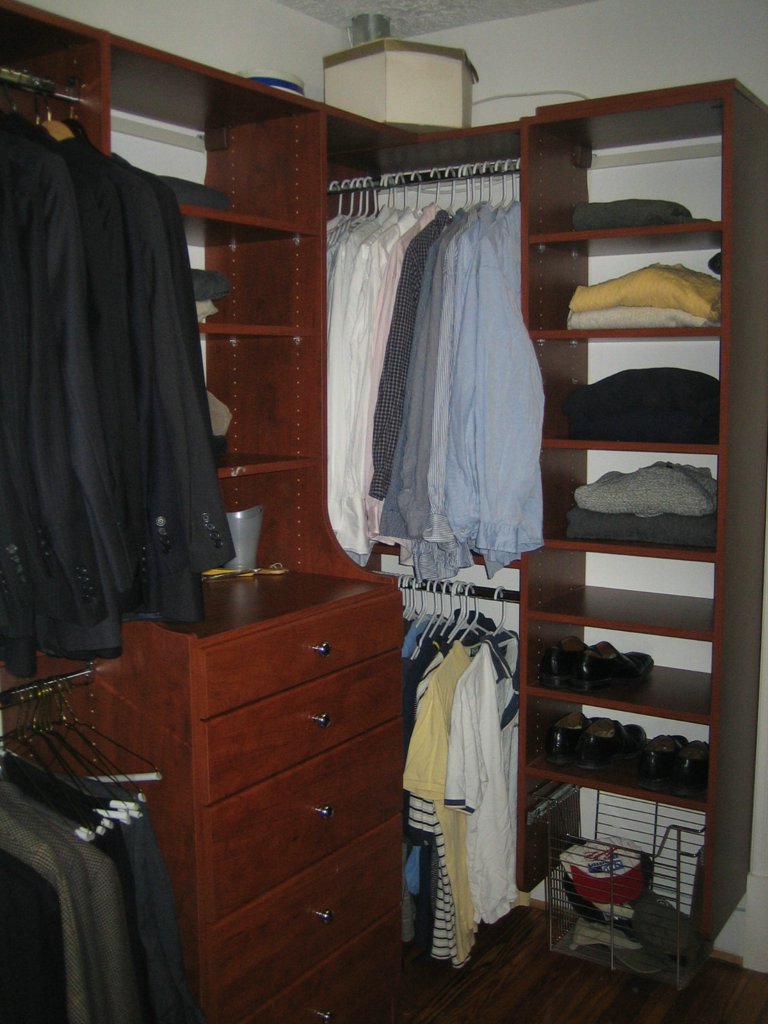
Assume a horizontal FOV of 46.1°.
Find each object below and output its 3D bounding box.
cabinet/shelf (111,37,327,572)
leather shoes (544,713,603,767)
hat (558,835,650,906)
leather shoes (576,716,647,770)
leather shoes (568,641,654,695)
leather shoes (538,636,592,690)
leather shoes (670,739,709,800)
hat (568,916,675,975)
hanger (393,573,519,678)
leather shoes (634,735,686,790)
[{"bbox_3d":[-0.374,-0.352,1.915,0.361,1.025,0.469,2,6,29],"label":"cabinet/shelf"},{"bbox_3d":[0.460,0.573,2.251,0.060,0.067,0.158,-1,1,25],"label":"leather shoes"},{"bbox_3d":[0.537,0.906,2.257,0.222,0.108,0.315,2,-2,16],"label":"hat"},{"bbox_3d":[0.563,0.568,2.250,0.094,0.069,0.165,0,3,29],"label":"leather shoes"},{"bbox_3d":[0.568,0.389,2.260,0.100,0.069,0.191,-1,0,36],"label":"leather shoes"},{"bbox_3d":[0.435,0.380,2.227,0.064,0.069,0.162,-1,2,28],"label":"leather shoes"},{"bbox_3d":[0.689,0.588,2.038,0.068,0.074,0.115,-2,-2,29],"label":"leather shoes"},{"bbox_3d":[0.551,1.012,2.158,0.122,0.048,0.155,7,-3,-40],"label":"hat"},{"bbox_3d":[0.171,0.297,2.289,0.077,0.154,0.260,9,-9,-43],"label":"hanger"},{"bbox_3d":[0.656,0.597,2.136,0.071,0.065,0.117,-1,-5,24],"label":"leather shoes"}]
